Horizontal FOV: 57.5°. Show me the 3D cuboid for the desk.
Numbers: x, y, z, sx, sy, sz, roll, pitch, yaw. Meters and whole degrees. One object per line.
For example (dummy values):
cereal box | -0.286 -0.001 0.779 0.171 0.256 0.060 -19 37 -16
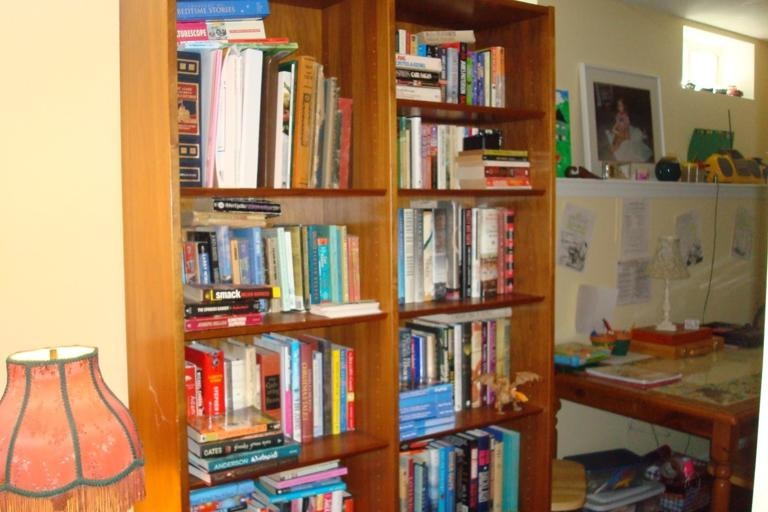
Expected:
desk | 1.583 0.867 3.591 1.051 0.537 0.832 -7 9 -30
